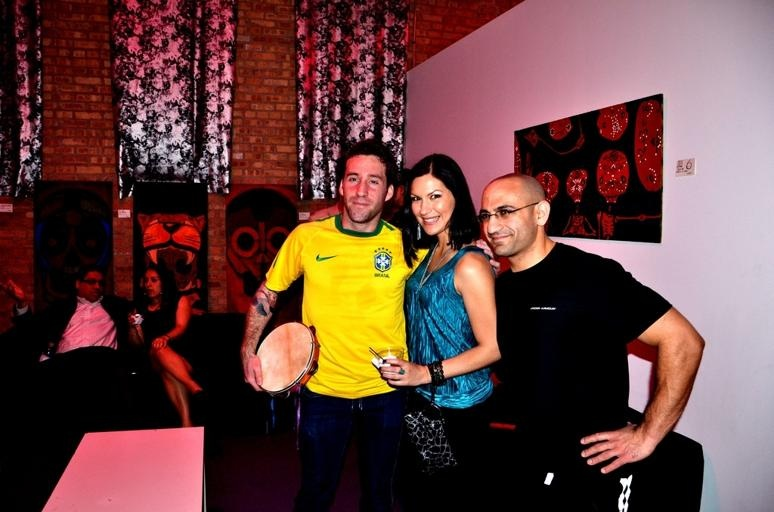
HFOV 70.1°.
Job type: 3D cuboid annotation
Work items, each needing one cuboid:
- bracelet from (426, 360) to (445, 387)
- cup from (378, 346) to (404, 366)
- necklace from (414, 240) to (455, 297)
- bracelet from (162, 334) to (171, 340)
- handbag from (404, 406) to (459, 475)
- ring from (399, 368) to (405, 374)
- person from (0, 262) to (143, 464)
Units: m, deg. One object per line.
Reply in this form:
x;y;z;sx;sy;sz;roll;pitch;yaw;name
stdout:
0.305;0.707;3.337;0.100;0.132;0.062;-2;-4;-15;bracelet
0.039;0.625;3.472;0.116;0.092;0.128;-1;-8;5;cup
0.272;0.085;3.508;0.110;0.278;0.269;25;-17;-28;necklace
-2.349;0.870;5.911;0.045;0.048;0.127;0;4;-7;bracelet
0.281;1.157;3.492;0.278;0.431;0.113;-19;-9;12;handbag
0.094;0.686;3.289;0.026;0.035;0.009;-3;-8;-4;ring
-3.327;1.156;5.794;1.381;0.977;2.539;-7;32;-24;person
